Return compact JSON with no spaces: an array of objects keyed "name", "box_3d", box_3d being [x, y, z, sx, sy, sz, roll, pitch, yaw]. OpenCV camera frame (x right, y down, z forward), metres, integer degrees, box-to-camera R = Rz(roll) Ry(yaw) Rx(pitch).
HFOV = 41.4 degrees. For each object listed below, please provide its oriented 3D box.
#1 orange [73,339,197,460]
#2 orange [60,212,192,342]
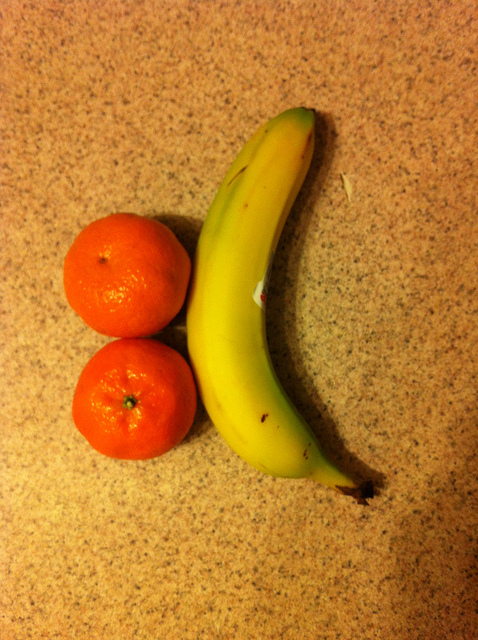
[{"name":"orange","box_3d":[-0.150,0.108,0.885,0.172,0.079,0.167,-1,83,0]},{"name":"orange","box_3d":[-0.162,-0.063,0.887,0.172,0.081,0.168,2,83,0]}]
